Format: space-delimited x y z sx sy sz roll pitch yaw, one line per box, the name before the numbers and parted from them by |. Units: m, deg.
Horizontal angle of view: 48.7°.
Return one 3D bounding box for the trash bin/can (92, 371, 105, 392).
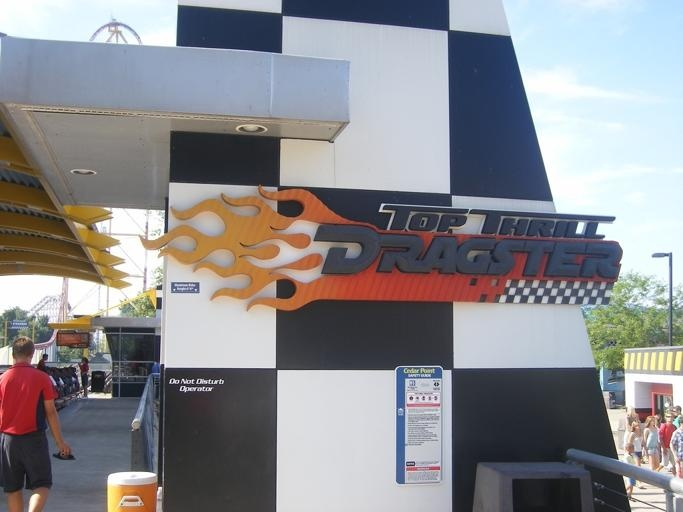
trash bin/can | -10.391 5.417 32.342 0.500 1.000 0.814 1 -2 -25
